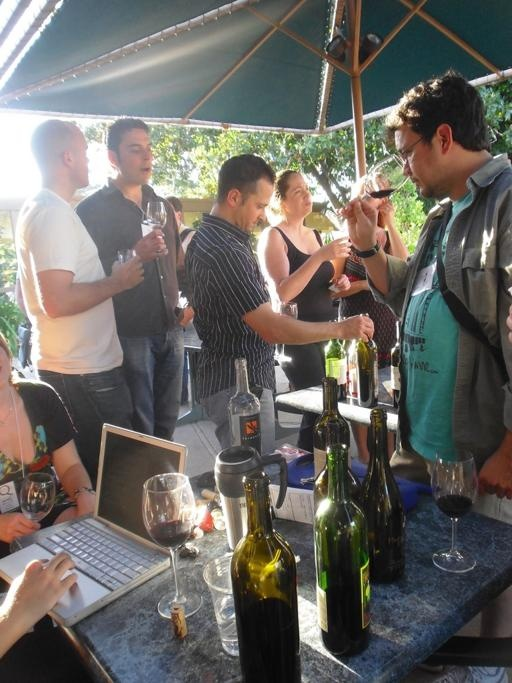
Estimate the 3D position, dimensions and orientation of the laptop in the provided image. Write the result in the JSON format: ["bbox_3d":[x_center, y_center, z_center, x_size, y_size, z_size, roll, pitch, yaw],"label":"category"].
[{"bbox_3d":[-0.337,0.425,1.280,0.474,0.360,0.407,6,8,42],"label":"laptop"}]

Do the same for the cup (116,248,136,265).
[{"bbox_3d":[-0.585,-0.392,2.427,0.079,0.087,0.080,0,-1,0],"label":"cup"}]
